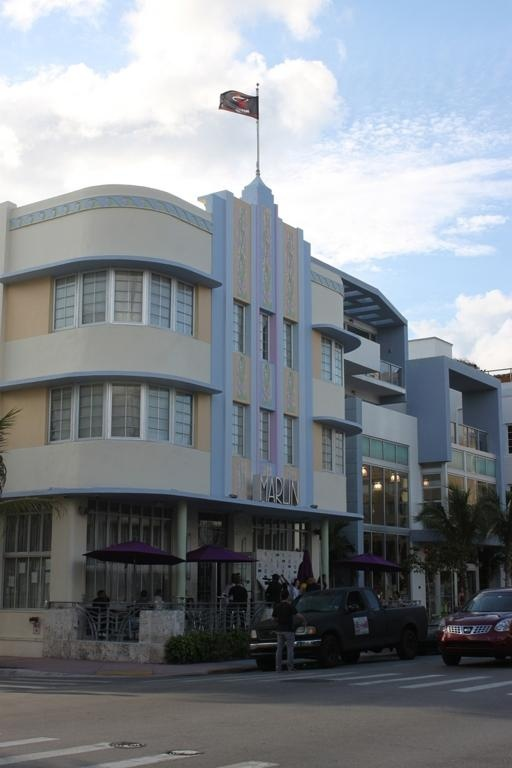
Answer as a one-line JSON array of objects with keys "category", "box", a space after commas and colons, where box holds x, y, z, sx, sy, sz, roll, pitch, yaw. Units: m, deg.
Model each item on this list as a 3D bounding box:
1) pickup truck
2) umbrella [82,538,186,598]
[{"category": "pickup truck", "box": [1.817, 5.233, 19.371, 1.849, 1.459, 3.935, -12, -18, 32]}, {"category": "umbrella", "box": [-3.383, 4.952, 23.717, 1.724, 1.128, 1.719, 1, -20, -2]}]
